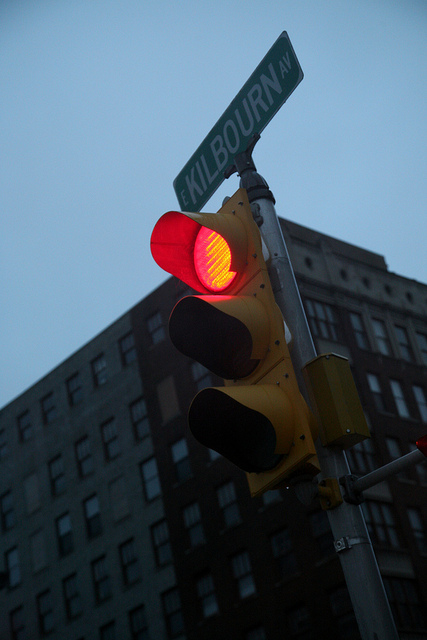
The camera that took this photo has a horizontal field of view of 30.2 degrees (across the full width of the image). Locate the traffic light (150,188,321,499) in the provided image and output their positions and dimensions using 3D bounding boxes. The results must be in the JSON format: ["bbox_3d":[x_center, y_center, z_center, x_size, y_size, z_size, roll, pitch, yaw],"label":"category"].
[{"bbox_3d":[0.046,0.022,3.526,0.542,1.532,0.681,-18,-22,4],"label":"traffic light"}]
